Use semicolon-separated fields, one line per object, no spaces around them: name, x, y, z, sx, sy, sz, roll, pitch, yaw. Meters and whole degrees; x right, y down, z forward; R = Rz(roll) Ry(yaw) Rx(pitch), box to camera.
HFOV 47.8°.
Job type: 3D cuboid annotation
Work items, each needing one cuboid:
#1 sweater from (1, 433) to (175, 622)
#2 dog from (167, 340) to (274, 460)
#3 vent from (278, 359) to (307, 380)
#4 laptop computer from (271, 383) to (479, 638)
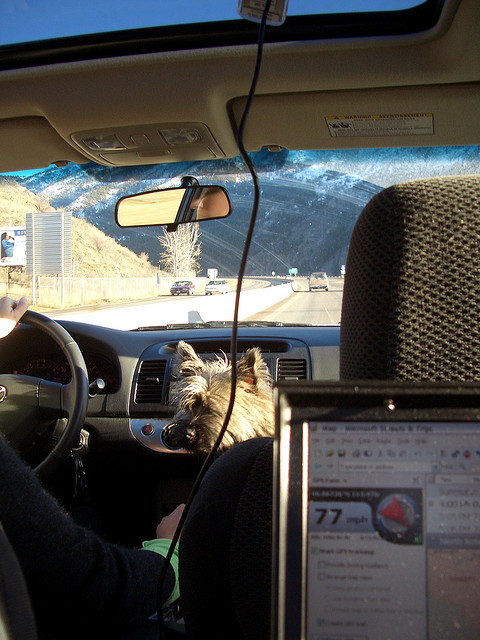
sweater;-0.298;0.512;1.274;0.423;0.548;0.373;1;17;-12
dog;0.005;0.381;2.410;0.400;0.424;0.545;-12;-16;41
vent;0.298;0.276;3.076;0.168;0.109;0.128;2;-3;4
laptop computer;0.176;0.244;0.677;0.278;0.335;0.073;2;-4;2
